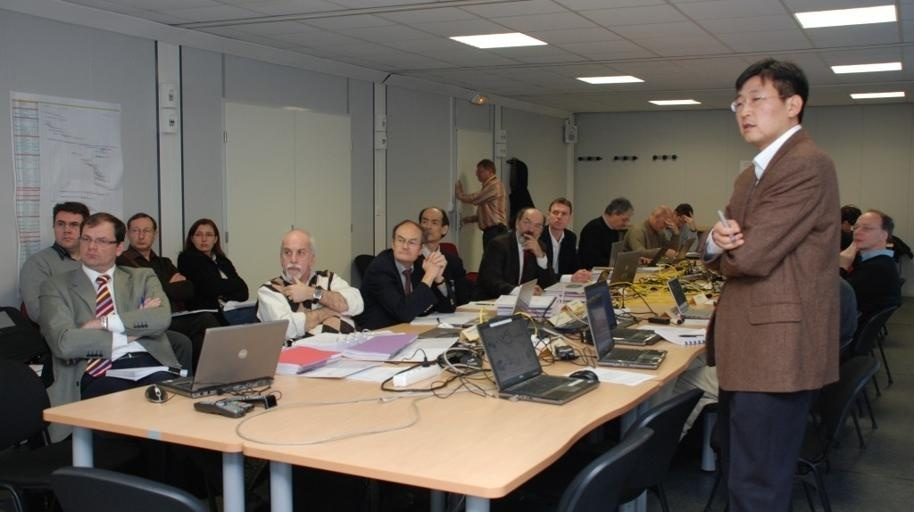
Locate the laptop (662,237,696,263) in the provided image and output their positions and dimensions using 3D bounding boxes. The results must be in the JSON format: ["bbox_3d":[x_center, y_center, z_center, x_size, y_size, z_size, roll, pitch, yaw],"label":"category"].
[{"bbox_3d":[3.524,-0.078,9.494,0.269,0.292,0.453,29,24,37],"label":"laptop"}]

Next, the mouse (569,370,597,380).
[{"bbox_3d":[0.827,0.767,3.856,0.115,0.032,0.069,-2,0,20],"label":"mouse"}]

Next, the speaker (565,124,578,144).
[{"bbox_3d":[2.653,-2.773,13.736,0.404,0.430,0.178,-9,8,-44],"label":"speaker"}]

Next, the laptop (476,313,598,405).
[{"bbox_3d":[0.484,0.646,3.746,0.603,0.384,0.603,-4,1,33],"label":"laptop"}]

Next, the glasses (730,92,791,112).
[{"bbox_3d":[1.691,-0.817,3.309,0.181,0.048,0.171,0,0,-38],"label":"glasses"}]

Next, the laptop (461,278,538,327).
[{"bbox_3d":[0.454,0.411,5.319,0.379,0.295,0.527,6,5,26],"label":"laptop"}]

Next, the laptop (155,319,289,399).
[{"bbox_3d":[-1.511,0.577,3.849,0.577,0.370,0.567,1,4,-44],"label":"laptop"}]

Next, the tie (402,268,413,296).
[{"bbox_3d":[-0.430,0.240,5.424,0.054,0.190,0.150,1,-12,17],"label":"tie"}]

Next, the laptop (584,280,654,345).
[{"bbox_3d":[1.266,0.500,4.663,0.527,0.426,0.630,-1,3,20],"label":"laptop"}]
